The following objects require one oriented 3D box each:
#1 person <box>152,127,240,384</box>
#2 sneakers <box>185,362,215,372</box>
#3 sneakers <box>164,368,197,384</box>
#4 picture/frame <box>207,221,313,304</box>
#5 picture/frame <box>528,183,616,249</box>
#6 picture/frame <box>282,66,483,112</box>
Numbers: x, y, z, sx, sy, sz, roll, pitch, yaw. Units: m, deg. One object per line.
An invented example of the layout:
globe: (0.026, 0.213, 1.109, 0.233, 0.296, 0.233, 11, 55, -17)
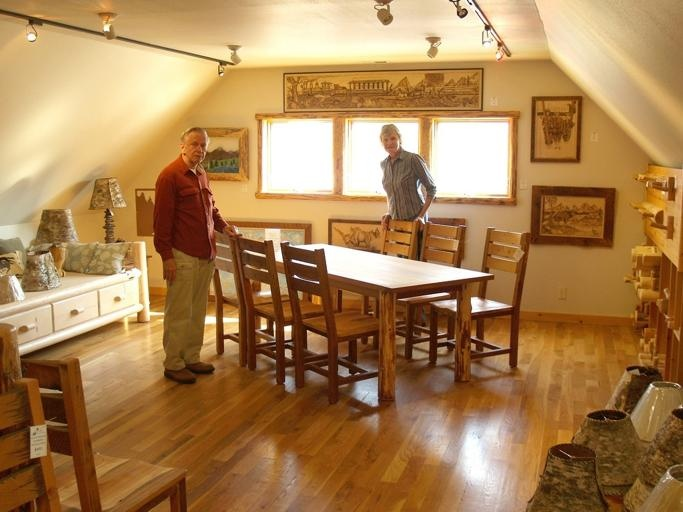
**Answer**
person: (-1.170, 0.009, 4.093, 0.497, 1.932, 0.309, -7, 12, -33)
sneakers: (-1.127, 0.904, 4.284, 0.222, 0.091, 0.081, 0, 3, 9)
sneakers: (-1.246, 0.924, 4.166, 0.205, 0.080, 0.107, 3, 6, 23)
picture/frame: (-0.692, 0.042, 4.671, 1.048, 0.727, 0.048, 0, 1, 9)
picture/frame: (2.515, -0.440, 5.761, 0.759, 0.603, 0.058, 2, 4, 12)
picture/frame: (0.519, -1.885, 6.150, 2.148, 0.490, 0.074, 2, 11, 13)
